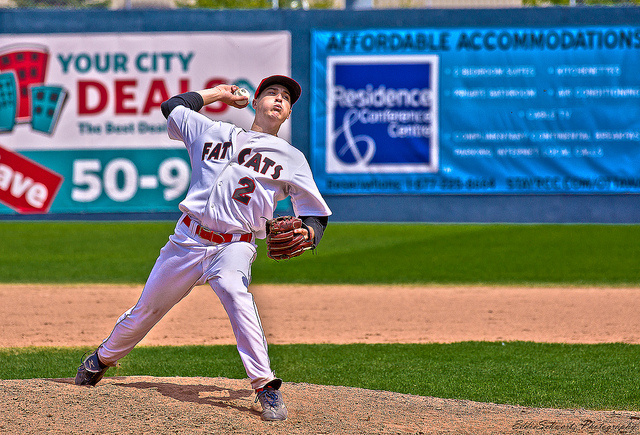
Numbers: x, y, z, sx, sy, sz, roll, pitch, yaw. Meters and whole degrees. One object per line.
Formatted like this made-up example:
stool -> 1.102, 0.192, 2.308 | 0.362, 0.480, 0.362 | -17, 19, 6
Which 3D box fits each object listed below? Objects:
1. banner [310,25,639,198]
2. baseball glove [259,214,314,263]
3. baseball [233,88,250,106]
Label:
banner -> 2.482, -1.664, 22.214 | 5.135, 2.734, 0.135 | 0, 1, 4
baseball glove -> -0.461, 0.314, 17.623 | 0.511, 0.652, 0.322 | 11, -15, -17
baseball -> -0.984, -1.540, 18.133 | 0.164, 0.222, 0.287 | 1, 1, 29
